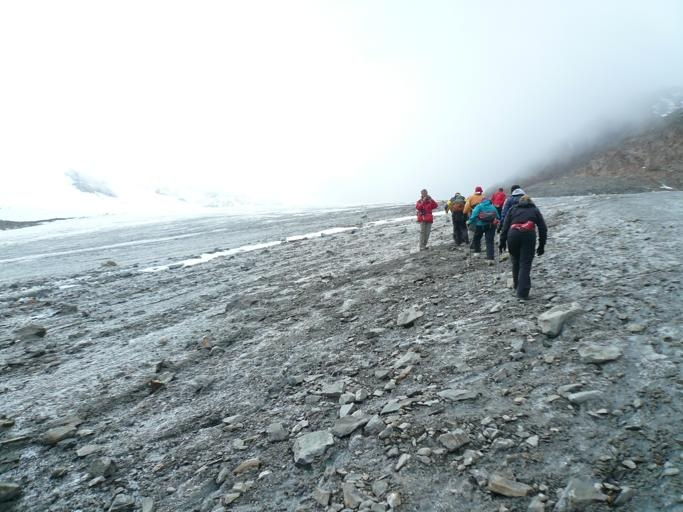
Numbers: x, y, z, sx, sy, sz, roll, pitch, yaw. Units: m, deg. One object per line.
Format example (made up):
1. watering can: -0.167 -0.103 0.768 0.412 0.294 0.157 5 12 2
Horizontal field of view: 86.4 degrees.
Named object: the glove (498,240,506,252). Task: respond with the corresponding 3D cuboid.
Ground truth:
1. glove: 5.368 -0.334 12.210 0.226 0.496 0.288 2 4 16
